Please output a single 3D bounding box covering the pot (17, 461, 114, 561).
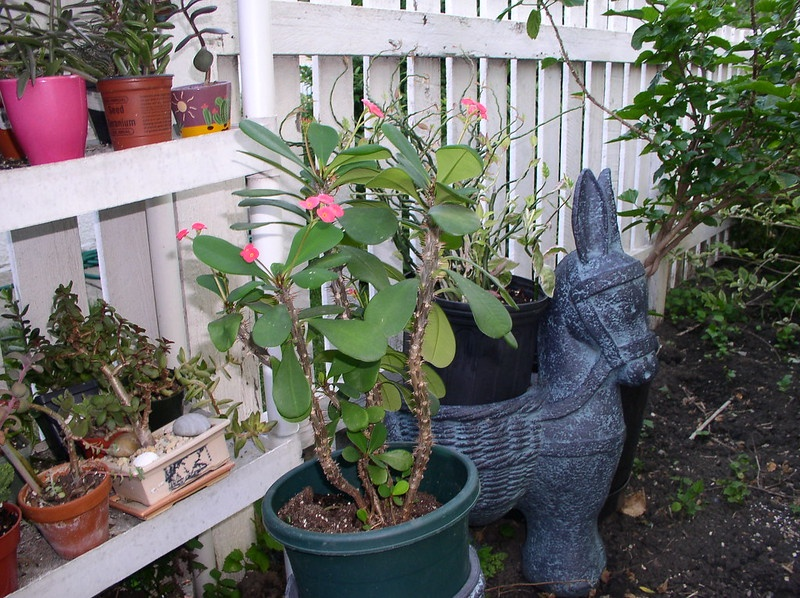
[{"bbox_3d":[-0.675,0.437,1.346,0.163,0.139,0.171,-9,6,1],"label":"pot"}]

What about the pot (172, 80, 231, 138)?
[{"bbox_3d":[-0.462,-0.444,1.482,0.158,0.115,0.149,0,26,0],"label":"pot"}]

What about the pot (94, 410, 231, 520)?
[{"bbox_3d":[-0.534,0.364,1.451,0.188,0.125,0.260,11,19,29],"label":"pot"}]

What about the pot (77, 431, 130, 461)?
[{"bbox_3d":[-0.673,0.316,1.402,0.070,0.038,0.074,0,7,0],"label":"pot"}]

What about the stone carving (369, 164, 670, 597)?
[{"bbox_3d":[0.318,0.253,2.676,1.206,2.020,0.796,-1,5,14],"label":"stone carving"}]

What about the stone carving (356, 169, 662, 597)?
[{"bbox_3d":[0.357,0.289,2.742,1.202,2.004,0.791,-1,5,15],"label":"stone carving"}]

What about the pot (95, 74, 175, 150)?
[{"bbox_3d":[-0.561,-0.396,1.347,0.150,0.127,0.158,-4,19,1],"label":"pot"}]

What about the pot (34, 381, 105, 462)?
[{"bbox_3d":[-0.735,0.270,1.419,0.102,0.149,0.121,-15,14,23],"label":"pot"}]

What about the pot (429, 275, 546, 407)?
[{"bbox_3d":[0.254,0.112,1.919,0.302,0.364,0.319,2,4,0],"label":"pot"}]

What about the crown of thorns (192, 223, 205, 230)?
[{"bbox_3d":[-0.431,-0.156,1.344,0.034,0.016,0.037,1,7,-15],"label":"crown of thorns"}]
